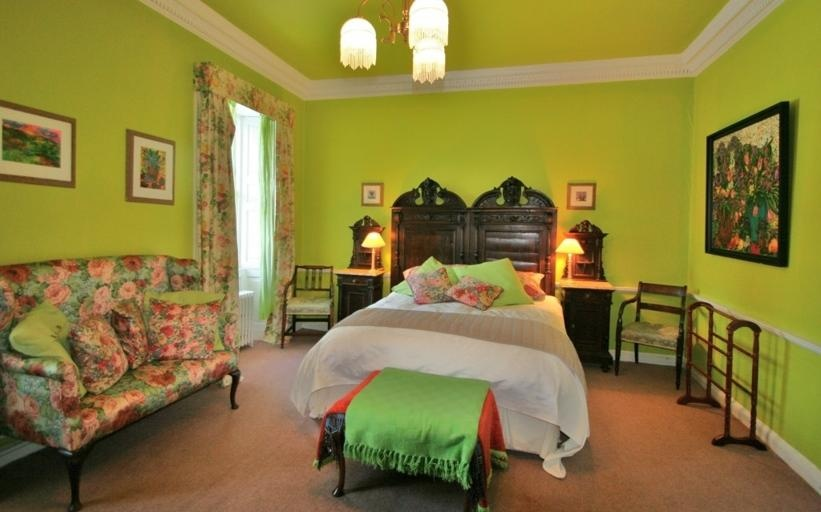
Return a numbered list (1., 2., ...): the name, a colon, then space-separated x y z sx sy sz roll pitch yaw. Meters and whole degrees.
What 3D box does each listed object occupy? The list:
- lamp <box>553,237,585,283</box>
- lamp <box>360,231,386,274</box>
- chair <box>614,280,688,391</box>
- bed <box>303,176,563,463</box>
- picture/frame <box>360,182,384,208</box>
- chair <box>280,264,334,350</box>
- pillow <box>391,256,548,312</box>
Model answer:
1. lamp: 2.404 0.045 8.463 0.557 0.867 0.560 0 0 17
2. lamp: -0.584 -0.059 8.997 0.521 0.633 0.537 2 3 19
3. chair: 3.352 1.056 7.857 0.955 1.310 0.996 2 7 4
4. bed: 0.438 0.755 7.152 3.434 3.919 1.360 -1 1 13
5. picture/frame: -0.609 -1.022 9.254 0.414 0.454 0.031 0 1 9
6. chair: -1.555 0.762 8.941 0.835 1.224 0.830 2 3 6
7. pillow: 0.834 0.350 7.863 2.044 0.659 1.015 3 3 12
